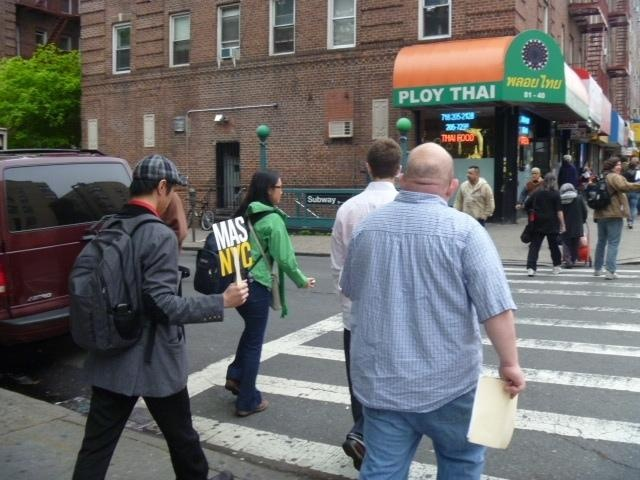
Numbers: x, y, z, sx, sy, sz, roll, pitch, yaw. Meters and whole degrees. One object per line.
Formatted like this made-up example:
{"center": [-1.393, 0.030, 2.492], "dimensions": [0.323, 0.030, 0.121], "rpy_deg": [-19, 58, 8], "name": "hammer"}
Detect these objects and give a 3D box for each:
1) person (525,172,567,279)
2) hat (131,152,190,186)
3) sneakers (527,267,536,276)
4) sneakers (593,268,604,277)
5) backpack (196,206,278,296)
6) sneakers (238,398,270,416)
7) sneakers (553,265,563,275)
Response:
{"center": [4.303, -0.270, 12.164], "dimensions": [0.693, 1.981, 0.694], "rpy_deg": [1, 9, 17], "name": "person"}
{"center": [-1.014, -0.453, 4.098], "dimensions": [0.292, 0.162, 0.200], "rpy_deg": [-7, 15, -38], "name": "hat"}
{"center": [4.115, 0.613, 12.316], "dimensions": [0.142, 0.158, 0.372], "rpy_deg": [-2, -6, 20], "name": "sneakers"}
{"center": [5.384, 0.632, 12.170], "dimensions": [0.108, 0.136, 0.320], "rpy_deg": [5, 6, 38], "name": "sneakers"}
{"center": [-0.744, 0.151, 5.068], "dimensions": [0.632, 0.581, 0.378], "rpy_deg": [2, -8, -42], "name": "backpack"}
{"center": [-0.611, 1.515, 5.818], "dimensions": [0.102, 0.114, 0.280], "rpy_deg": [8, 13, 39], "name": "sneakers"}
{"center": [4.785, 0.583, 12.733], "dimensions": [0.128, 0.164, 0.390], "rpy_deg": [-6, 10, 21], "name": "sneakers"}
